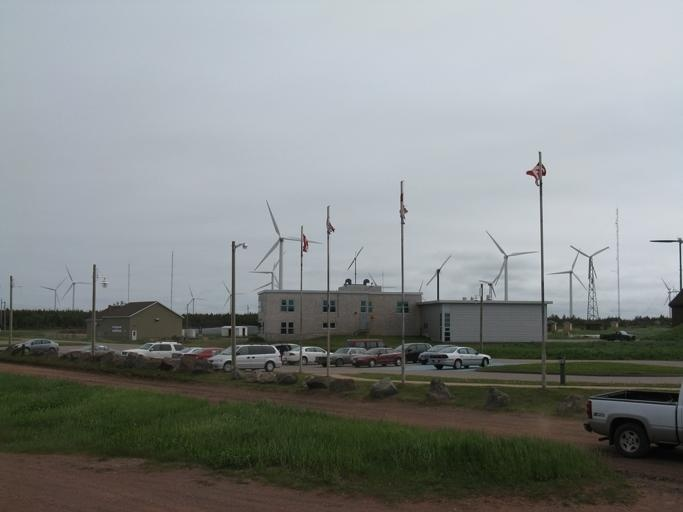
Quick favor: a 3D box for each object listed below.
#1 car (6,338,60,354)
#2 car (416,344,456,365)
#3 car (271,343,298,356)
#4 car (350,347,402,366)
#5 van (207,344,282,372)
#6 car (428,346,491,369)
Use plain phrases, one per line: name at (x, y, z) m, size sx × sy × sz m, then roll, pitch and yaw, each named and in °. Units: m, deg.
car at (-27.389, 8.017, 74.346) m, size 2.970 × 1.085 × 1.747 m, roll 7°, pitch -10°, yaw -13°
car at (6.601, 7.096, 61.020) m, size 2.578 × 0.898 × 1.202 m, roll 3°, pitch -10°, yaw -33°
car at (-4.047, 6.846, 62.502) m, size 1.062 × 0.953 × 1.885 m, roll 0°, pitch 2°, yaw 36°
car at (2.536, 7.299, 60.095) m, size 3.267 × 1.051 × 1.463 m, roll 8°, pitch -13°, yaw -35°
van at (-5.873, 6.504, 53.219) m, size 3.723 × 1.387 × 1.865 m, roll 5°, pitch -8°, yaw -21°
car at (8.065, 7.085, 58.047) m, size 4.215 × 1.413 × 2.089 m, roll 1°, pitch -1°, yaw -23°
